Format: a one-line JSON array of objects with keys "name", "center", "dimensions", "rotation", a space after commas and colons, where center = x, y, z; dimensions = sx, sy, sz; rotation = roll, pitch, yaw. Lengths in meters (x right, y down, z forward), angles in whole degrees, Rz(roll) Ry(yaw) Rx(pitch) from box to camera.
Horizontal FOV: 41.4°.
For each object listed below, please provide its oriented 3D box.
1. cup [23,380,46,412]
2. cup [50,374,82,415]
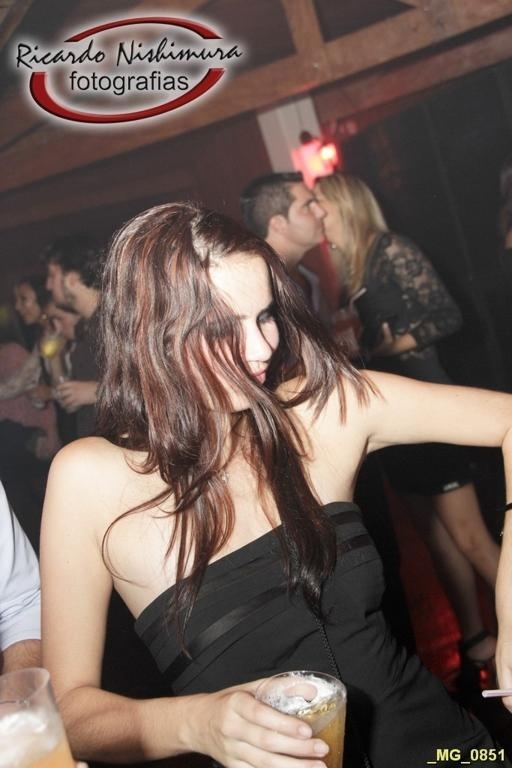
[{"name": "cup", "center": [-0.585, 0.037, 1.816], "dimensions": [0.069, 0.072, 0.047], "rotation": [21, 41, 37]}, {"name": "cup", "center": [-0.527, 0.031, 1.812], "dimensions": [0.100, 0.090, 0.085], "rotation": [1, -8, -33]}]
